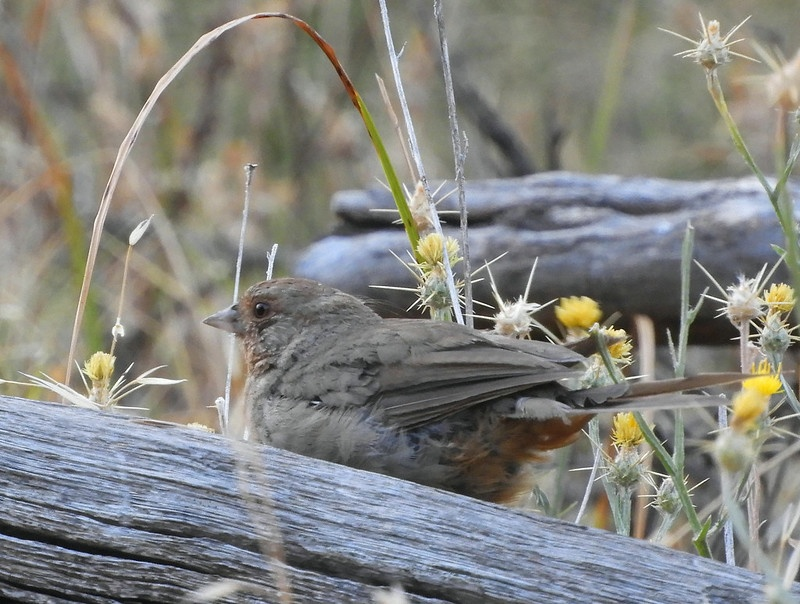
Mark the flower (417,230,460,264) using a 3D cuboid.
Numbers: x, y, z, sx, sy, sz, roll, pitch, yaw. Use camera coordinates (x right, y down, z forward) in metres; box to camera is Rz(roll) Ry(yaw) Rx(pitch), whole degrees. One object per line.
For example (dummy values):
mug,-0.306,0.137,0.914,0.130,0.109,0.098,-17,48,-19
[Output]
flower,0.183,-0.244,4.829,0.184,0.138,0.171,-9,6,-12
